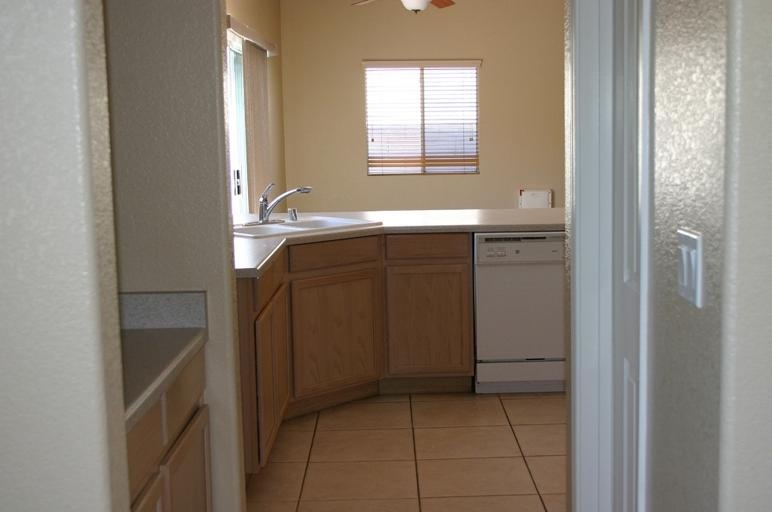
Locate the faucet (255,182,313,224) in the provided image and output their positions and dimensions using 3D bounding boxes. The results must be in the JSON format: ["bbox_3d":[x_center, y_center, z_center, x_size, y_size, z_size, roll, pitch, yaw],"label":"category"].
[{"bbox_3d":[-0.575,-0.307,3.494,0.355,0.217,0.167,-3,9,22],"label":"faucet"}]

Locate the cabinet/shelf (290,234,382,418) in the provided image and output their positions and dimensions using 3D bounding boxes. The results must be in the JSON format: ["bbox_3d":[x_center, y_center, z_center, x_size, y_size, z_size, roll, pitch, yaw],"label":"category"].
[{"bbox_3d":[-0.172,0.414,3.434,0.651,0.913,0.644,-9,-23,10],"label":"cabinet/shelf"}]
